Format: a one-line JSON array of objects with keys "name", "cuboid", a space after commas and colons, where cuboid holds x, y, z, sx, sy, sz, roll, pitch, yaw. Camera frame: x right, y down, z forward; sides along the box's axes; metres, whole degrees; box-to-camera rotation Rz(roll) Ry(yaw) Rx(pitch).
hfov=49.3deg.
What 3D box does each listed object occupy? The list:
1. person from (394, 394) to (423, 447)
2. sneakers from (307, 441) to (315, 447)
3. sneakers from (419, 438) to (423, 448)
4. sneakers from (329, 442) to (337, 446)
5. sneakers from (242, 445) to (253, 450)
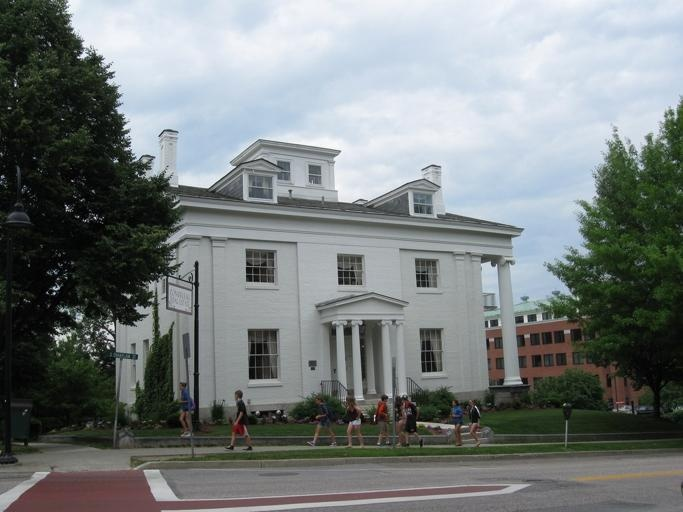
[{"name": "person", "cuboid": [2.476, 6.220, 28.156, 0.855, 1.763, 1.034, -4, -13, 2]}, {"name": "sneakers", "cuboid": [-1.129, 6.950, 27.626, 0.188, 0.183, 0.449, 29, -28, -35]}, {"name": "sneakers", "cuboid": [2.911, 6.882, 27.438, 0.175, 0.350, 0.129, -4, 6, 0]}, {"name": "sneakers", "cuboid": [-0.333, 6.873, 27.218, 0.118, 0.123, 0.322, 13, -17, -38]}, {"name": "sneakers", "cuboid": [-3.189, 6.532, 25.307, 0.459, 0.169, 0.171, -2, -8, 42]}]
